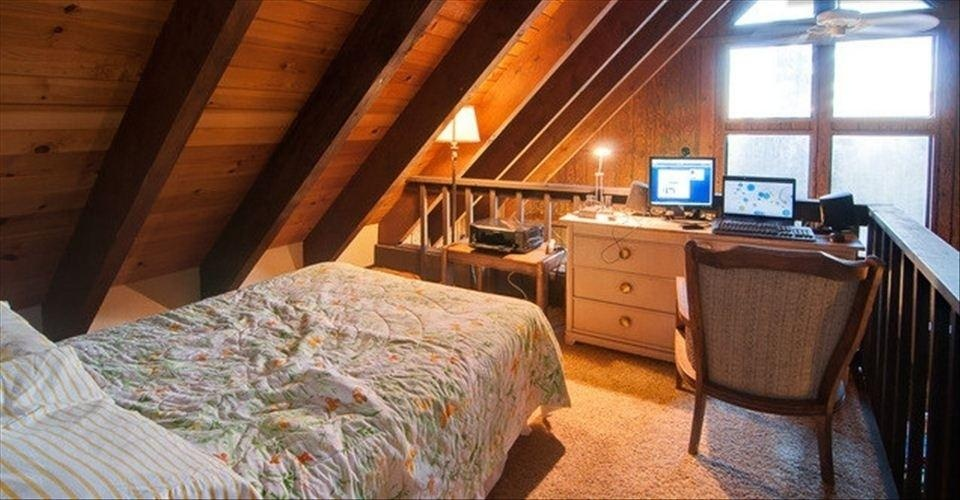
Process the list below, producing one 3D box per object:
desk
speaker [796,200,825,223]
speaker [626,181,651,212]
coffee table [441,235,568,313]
[{"bbox_3d":[1.571,0.231,3.808,1.354,0.691,0.482,3,5,29],"label":"desk"},{"bbox_3d":[2.463,-0.285,4.357,0.242,0.196,0.163,-2,3,-3],"label":"speaker"},{"bbox_3d":[1.314,-0.452,4.679,0.170,0.253,0.154,13,31,22],"label":"speaker"},{"bbox_3d":[0.218,0.286,5.009,0.931,0.602,0.655,10,12,31],"label":"coffee table"}]
